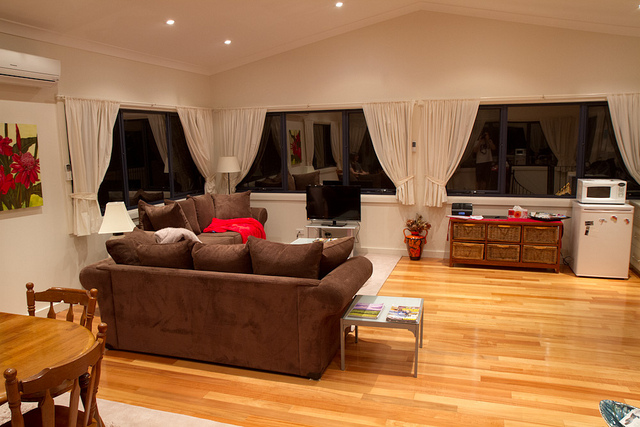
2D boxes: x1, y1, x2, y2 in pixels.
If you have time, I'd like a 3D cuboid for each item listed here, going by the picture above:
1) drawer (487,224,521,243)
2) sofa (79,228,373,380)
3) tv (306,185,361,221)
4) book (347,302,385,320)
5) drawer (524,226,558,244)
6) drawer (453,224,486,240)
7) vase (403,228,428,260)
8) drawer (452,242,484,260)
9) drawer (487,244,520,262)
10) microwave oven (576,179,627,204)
[{"bbox_3d":[3.139,0.339,7.449,0.352,0.222,0.361,2,4,25],"label":"drawer"},{"bbox_3d":[-1.170,0.954,5.532,3.255,1.506,1.414,3,8,16],"label":"sofa"},{"bbox_3d":[0.262,-0.166,8.293,1.045,0.751,0.263,1,-4,12],"label":"tv"},{"bbox_3d":[0.527,1.086,4.939,0.342,0.072,0.421,0,6,18],"label":"book"},{"bbox_3d":[3.715,0.347,7.306,0.342,0.213,0.351,2,8,27],"label":"drawer"},{"bbox_3d":[2.593,0.307,7.587,0.320,0.199,0.324,1,4,9],"label":"drawer"},{"bbox_3d":[1.804,0.568,8.205,0.442,0.579,0.347,-1,7,12],"label":"vase"},{"bbox_3d":[2.583,0.649,7.631,0.312,0.229,0.415,1,3,25],"label":"drawer"},{"bbox_3d":[3.184,0.626,7.572,0.350,0.217,0.357,2,4,23],"label":"drawer"},{"bbox_3d":[4.608,-0.368,7.102,0.590,0.384,0.436,1,2,26],"label":"microwave oven"}]
